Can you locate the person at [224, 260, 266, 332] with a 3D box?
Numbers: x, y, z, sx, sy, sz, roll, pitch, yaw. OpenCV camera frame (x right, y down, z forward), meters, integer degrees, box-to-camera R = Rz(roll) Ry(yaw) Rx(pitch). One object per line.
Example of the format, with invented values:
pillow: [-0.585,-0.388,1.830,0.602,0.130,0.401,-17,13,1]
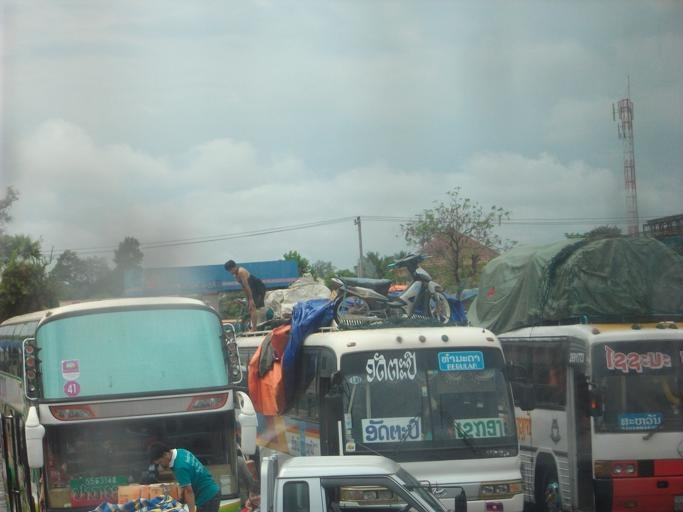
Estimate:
person: [-1.833,0.710,24.779,0.723,1.457,0.559,-10,19,-15]

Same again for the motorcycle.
motorcycle: [1.031,0.607,21.192,2.274,1.486,1.082,-5,-6,-24]
